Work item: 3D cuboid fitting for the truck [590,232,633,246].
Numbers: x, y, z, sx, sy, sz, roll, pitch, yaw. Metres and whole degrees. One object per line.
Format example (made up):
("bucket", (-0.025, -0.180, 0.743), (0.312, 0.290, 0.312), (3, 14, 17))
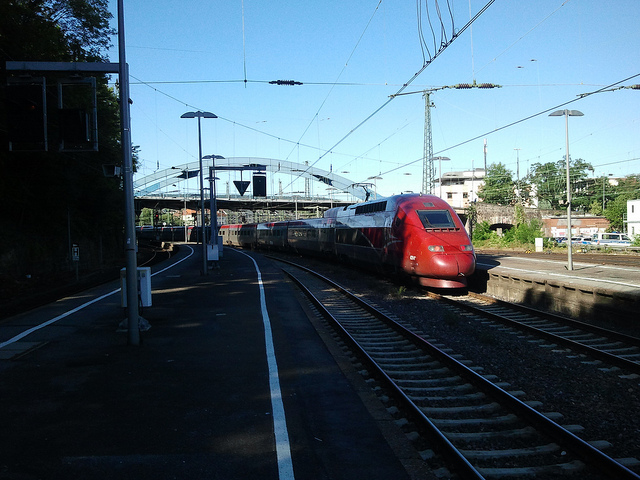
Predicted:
("truck", (23.258, -0.017, 44.026), (2.402, 1.054, 0.967), (-3, 8, -6))

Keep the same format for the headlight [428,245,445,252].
("headlight", (4.102, 0.311, 19.509), (0.544, 0.248, 0.170), (2, 6, 9))

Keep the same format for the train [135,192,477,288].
("train", (0.182, -0.118, 37.372), (1.907, 6.568, 37.464), (0, 6, -14))
